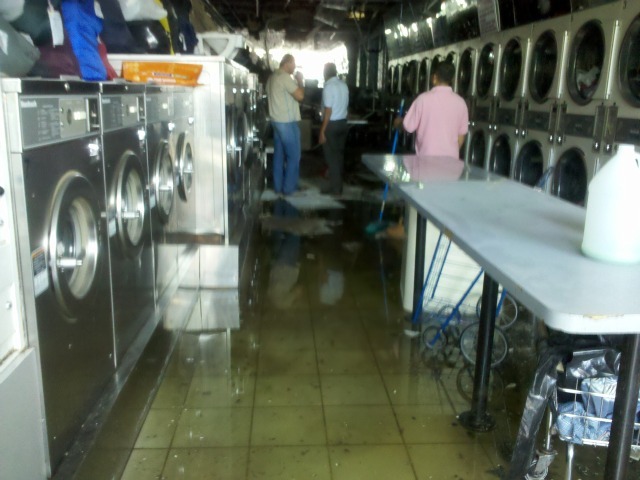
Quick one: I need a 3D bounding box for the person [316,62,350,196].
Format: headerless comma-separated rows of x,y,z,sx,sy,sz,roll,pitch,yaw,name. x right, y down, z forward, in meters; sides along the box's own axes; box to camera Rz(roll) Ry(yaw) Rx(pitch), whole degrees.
0.161,-1.291,6.864,0.314,1.490,0.747,-1,13,1,person
